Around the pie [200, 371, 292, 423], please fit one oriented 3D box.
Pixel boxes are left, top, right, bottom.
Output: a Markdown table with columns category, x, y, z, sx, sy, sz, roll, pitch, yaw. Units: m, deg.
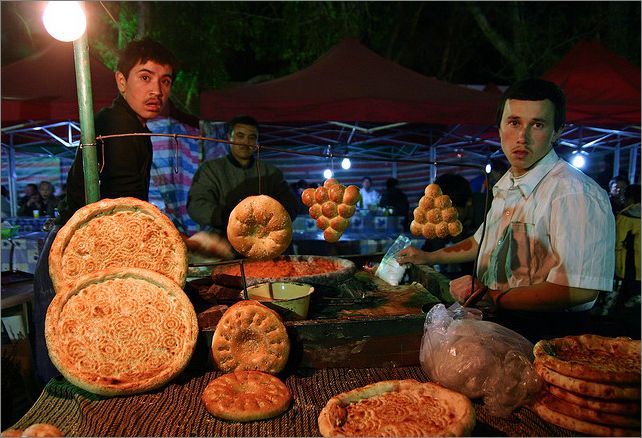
| category | x | y | z | sx | sy | sz | roll | pitch | yaw |
| --- | --- | --- | --- | --- | --- | --- | --- | --- | --- |
| pie | -0.414 | 1.000 | 2.765 | 0.496 | 0.212 | 0.211 | -2 | 5 | -4 |

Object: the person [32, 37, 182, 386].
| category | x | y | z | sx | sy | sz | roll | pitch | yaw |
| --- | --- | --- | --- | --- | --- | --- | --- | --- | --- |
| person | -1.611 | -0.032 | 3.730 | 0.885 | 2.658 | 0.863 | 3 | 5 | -37 |

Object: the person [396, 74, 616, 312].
| category | x | y | z | sx | sy | sz | roll | pitch | yaw |
| --- | --- | --- | --- | --- | --- | --- | --- | --- | --- |
| person | 1.593 | -0.175 | 3.524 | 1.076 | 1.650 | 0.865 | 1 | 6 | 30 |

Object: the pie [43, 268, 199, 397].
| category | x | y | z | sx | sy | sz | roll | pitch | yaw |
| --- | --- | --- | --- | --- | --- | --- | --- | --- | --- |
| pie | -1.133 | 0.636 | 2.769 | 0.770 | 0.742 | 0.184 | 30 | -17 | -6 |

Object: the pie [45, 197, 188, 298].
| category | x | y | z | sx | sy | sz | roll | pitch | yaw |
| --- | --- | --- | --- | --- | --- | --- | --- | --- | --- |
| pie | -1.191 | 0.153 | 2.971 | 0.630 | 0.629 | 0.191 | 6 | -8 | -12 |

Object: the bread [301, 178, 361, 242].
| category | x | y | z | sx | sy | sz | roll | pitch | yaw |
| --- | --- | --- | --- | --- | --- | --- | --- | --- | --- |
| bread | 0.070 | -0.074 | 3.118 | 0.383 | 0.390 | 0.117 | -33 | 5 | 16 |

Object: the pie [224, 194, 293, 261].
| category | x | y | z | sx | sy | sz | roll | pitch | yaw |
| --- | --- | --- | --- | --- | --- | --- | --- | --- | --- |
| pie | -0.391 | 0.058 | 3.088 | 0.396 | 0.420 | 0.140 | -2 | 6 | -12 |

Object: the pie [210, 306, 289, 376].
| category | x | y | z | sx | sy | sz | roll | pitch | yaw |
| --- | --- | --- | --- | --- | --- | --- | --- | --- | --- |
| pie | -0.415 | 0.714 | 2.810 | 0.411 | 0.415 | 0.124 | 32 | 1 | -6 |

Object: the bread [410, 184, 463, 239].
| category | x | y | z | sx | sy | sz | roll | pitch | yaw |
| --- | --- | --- | --- | --- | --- | --- | --- | --- | --- |
| bread | 0.757 | -0.056 | 3.222 | 0.324 | 0.361 | 0.151 | 0 | 6 | 12 |
